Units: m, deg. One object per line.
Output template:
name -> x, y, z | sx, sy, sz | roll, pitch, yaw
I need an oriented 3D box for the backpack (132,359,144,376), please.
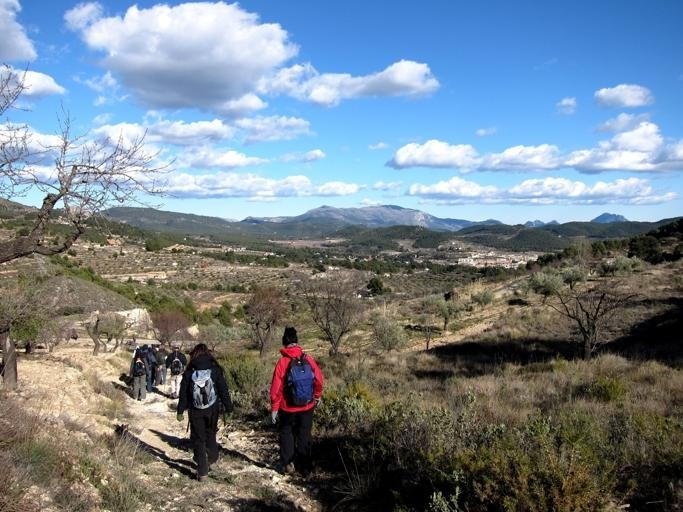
backpack -> -5.659, 3.143, 12.695 | 0.303, 0.435, 0.397 | 3, -9, -37

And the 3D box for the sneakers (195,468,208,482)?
sneakers -> -2.358, 3.714, 7.658 | 0.136, 0.142, 0.126 | -6, -9, 13

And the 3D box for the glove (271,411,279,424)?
glove -> -1.145, 2.781, 7.860 | 0.118, 0.175, 0.150 | 2, 7, -1

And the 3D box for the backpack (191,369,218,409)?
backpack -> -2.389, 2.314, 7.857 | 0.578, 0.879, 0.461 | 0, -12, -22
